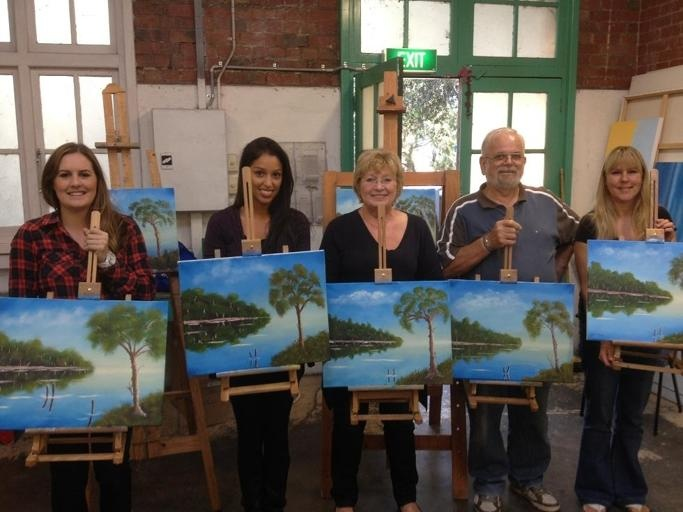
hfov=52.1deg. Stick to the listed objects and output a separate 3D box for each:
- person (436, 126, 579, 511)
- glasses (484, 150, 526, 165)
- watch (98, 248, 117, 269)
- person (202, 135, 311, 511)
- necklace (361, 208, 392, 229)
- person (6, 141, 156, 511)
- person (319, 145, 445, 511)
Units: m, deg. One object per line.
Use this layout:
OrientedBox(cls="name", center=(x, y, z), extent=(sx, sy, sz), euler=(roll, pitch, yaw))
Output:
OrientedBox(cls="person", center=(0.914, 0.358, 3.808), extent=(0.754, 2.086, 0.522), euler=(-1, 9, 7))
OrientedBox(cls="glasses", center=(0.870, -0.526, 3.704), extent=(0.196, 0.058, 0.066), euler=(-1, 9, 4))
OrientedBox(cls="watch", center=(-1.093, 0.016, 3.270), extent=(0.053, 0.076, 0.076), euler=(30, 53, 11))
OrientedBox(cls="person", center=(-0.416, 0.429, 3.589), extent=(0.531, 2.046, 0.425), euler=(-2, 9, -3))
OrientedBox(cls="necklace", center=(0.173, -0.202, 3.492), extent=(0.105, 0.111, 0.123), euler=(1, -20, -6))
OrientedBox(cls="person", center=(-1.202, 0.338, 3.267), extent=(0.646, 1.715, 0.404), euler=(-4, 10, -17))
OrientedBox(cls="person", center=(0.212, 0.448, 3.627), extent=(0.618, 1.986, 0.432), euler=(-1, 9, 3))
